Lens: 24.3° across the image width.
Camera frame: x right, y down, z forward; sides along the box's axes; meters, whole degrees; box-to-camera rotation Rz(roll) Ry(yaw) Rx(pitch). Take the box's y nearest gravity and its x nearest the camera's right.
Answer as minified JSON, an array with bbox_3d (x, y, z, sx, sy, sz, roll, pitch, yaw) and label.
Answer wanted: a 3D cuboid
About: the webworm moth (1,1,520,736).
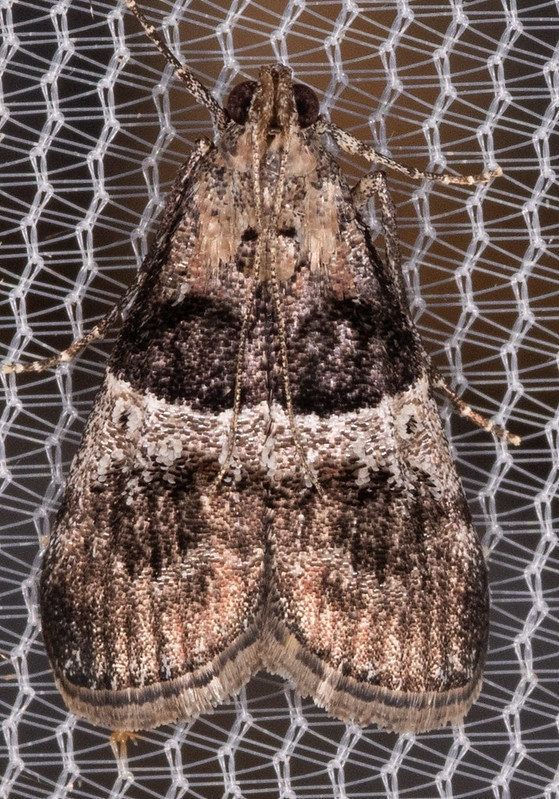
[{"bbox_3d":[-0.059,0.062,1.744,0.644,0.218,0.832,-20,83,-2],"label":"webworm moth"}]
